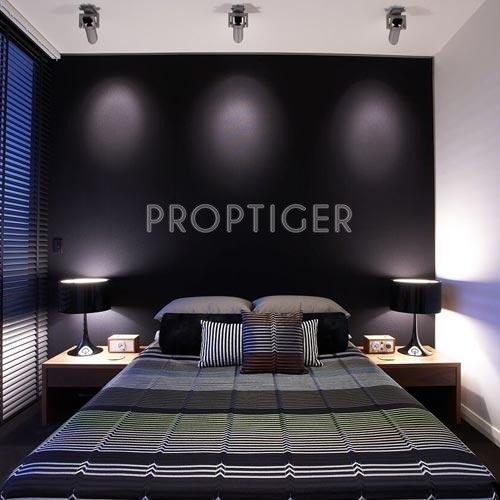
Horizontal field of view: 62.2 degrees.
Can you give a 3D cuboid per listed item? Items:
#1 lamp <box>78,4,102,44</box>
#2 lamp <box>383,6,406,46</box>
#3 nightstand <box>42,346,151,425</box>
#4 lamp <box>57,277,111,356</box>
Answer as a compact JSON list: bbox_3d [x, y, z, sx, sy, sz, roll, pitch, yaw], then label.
[{"bbox_3d":[-1.099,-1.570,2.859,0.141,0.136,0.294,1,-76,-8],"label":"lamp"},{"bbox_3d":[0.984,-1.532,2.820,0.128,0.211,0.262,1,-80,7],"label":"lamp"},{"bbox_3d":[-1.197,0.867,3.047,0.497,0.568,0.386,-1,-90,-1],"label":"nightstand"},{"bbox_3d":[-1.260,0.514,3.186,0.306,0.340,0.598,2,-81,-14],"label":"lamp"}]
